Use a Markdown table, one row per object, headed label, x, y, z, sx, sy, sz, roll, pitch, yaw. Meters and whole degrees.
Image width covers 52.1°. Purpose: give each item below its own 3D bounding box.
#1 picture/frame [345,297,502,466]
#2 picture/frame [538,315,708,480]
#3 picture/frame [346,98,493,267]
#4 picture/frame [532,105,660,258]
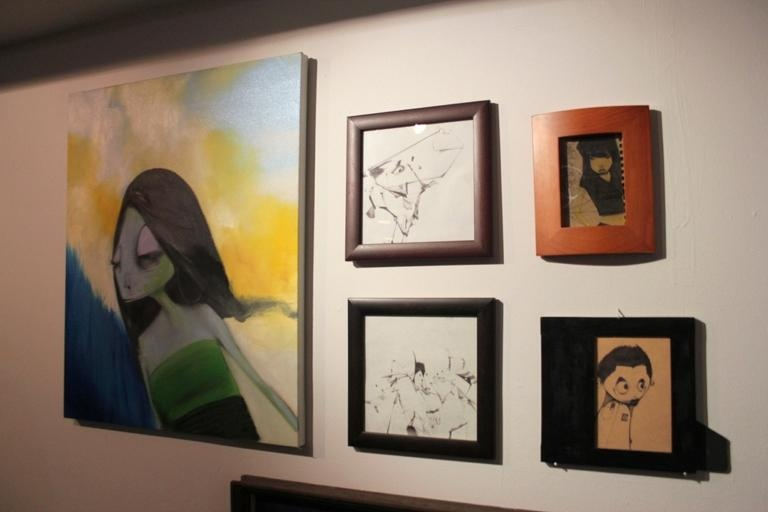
| label | x | y | z | sx | sy | sz | roll | pitch | yaw |
| --- | --- | --- | --- | --- | --- | --- | --- | --- | --- |
| picture/frame | 0.158 | 0.436 | 2.708 | 0.549 | 0.586 | 0.045 | 0 | -3 | 15 |
| picture/frame | 0.812 | 0.472 | 2.595 | 0.516 | 0.547 | 0.043 | 0 | -4 | 13 |
| picture/frame | 0.141 | -0.240 | 2.729 | 0.545 | 0.587 | 0.042 | -1 | -2 | 16 |
| picture/frame | 0.723 | -0.242 | 2.621 | 0.452 | 0.635 | 0.044 | -3 | -8 | 14 |
